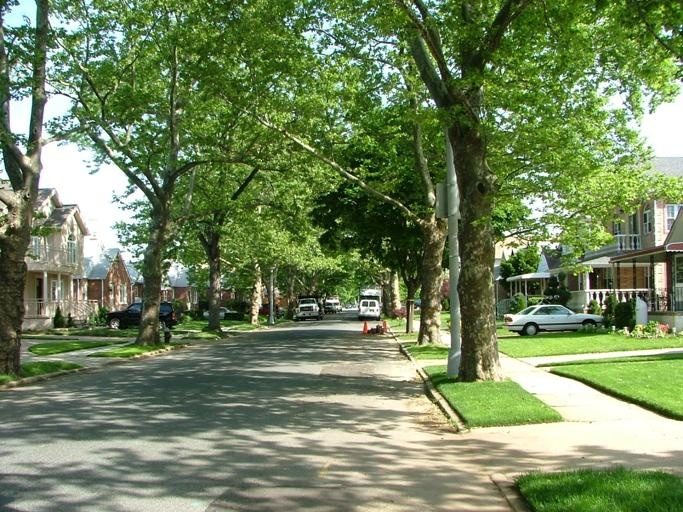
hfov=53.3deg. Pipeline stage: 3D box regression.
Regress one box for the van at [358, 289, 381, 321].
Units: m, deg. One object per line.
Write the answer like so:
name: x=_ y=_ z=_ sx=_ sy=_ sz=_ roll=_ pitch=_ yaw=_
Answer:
van: x=2.649 y=4.980 z=64.460 sx=1.635 sy=2.068 sz=3.503 roll=1 pitch=1 yaw=-1

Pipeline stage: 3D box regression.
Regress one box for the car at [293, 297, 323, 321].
car: x=-3.231 y=5.178 z=66.252 sx=2.196 sy=2.314 sz=2.818 roll=0 pitch=-6 yaw=10

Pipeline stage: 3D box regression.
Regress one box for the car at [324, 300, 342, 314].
car: x=-1.569 y=8.533 z=113.347 sx=2.507 sy=2.446 sz=7.411 roll=-2 pitch=-6 yaw=4

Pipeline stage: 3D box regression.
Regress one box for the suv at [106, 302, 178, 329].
suv: x=-12.744 y=3.760 z=42.943 sx=2.768 sy=1.698 sz=4.855 roll=6 pitch=-8 yaw=-37

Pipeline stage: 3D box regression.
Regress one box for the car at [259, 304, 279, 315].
car: x=-9.149 y=6.570 z=82.192 sx=1.953 sy=1.384 sz=1.888 roll=0 pitch=-8 yaw=-5
